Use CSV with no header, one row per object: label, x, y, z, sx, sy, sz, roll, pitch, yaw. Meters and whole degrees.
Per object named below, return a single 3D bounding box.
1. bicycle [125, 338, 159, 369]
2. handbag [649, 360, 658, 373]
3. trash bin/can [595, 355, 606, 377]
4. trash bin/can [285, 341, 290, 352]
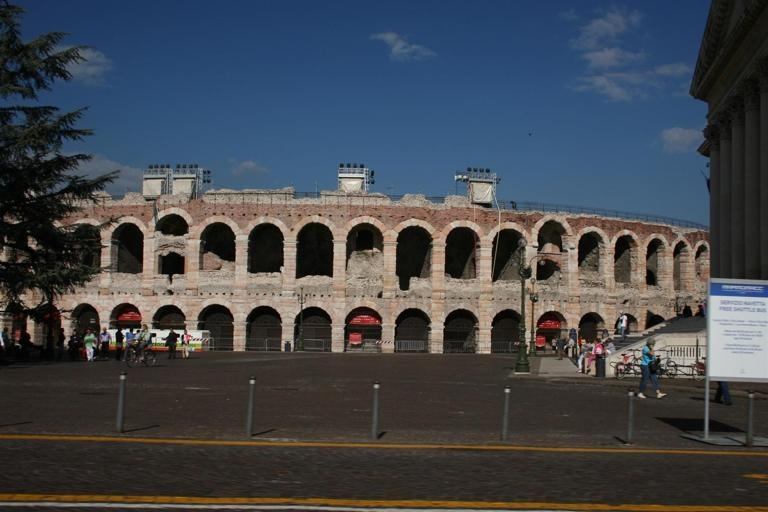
bicycle,-12.756,5.212,53.703,2.154,1.121,1.041,8,-11,-40
handbag,11.539,4.726,43.555,0.307,0.571,0.479,-4,-10,31
trash bin/can,11.106,5.613,52.340,0.463,1.222,0.972,0,-9,7
trash bin/can,-7.178,6.676,76.345,0.448,0.657,0.747,2,-8,-7
